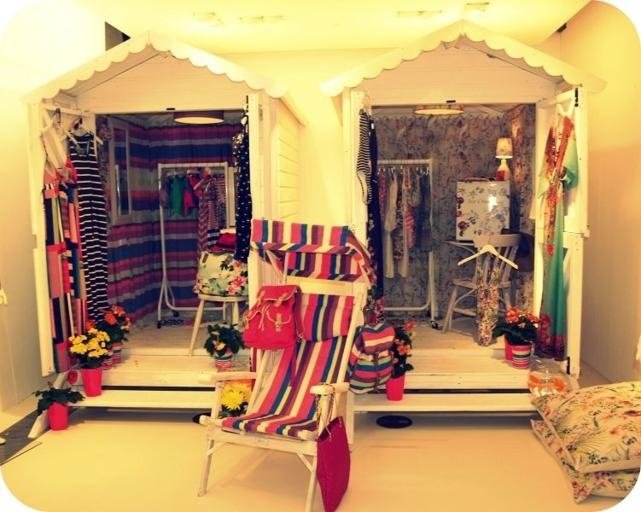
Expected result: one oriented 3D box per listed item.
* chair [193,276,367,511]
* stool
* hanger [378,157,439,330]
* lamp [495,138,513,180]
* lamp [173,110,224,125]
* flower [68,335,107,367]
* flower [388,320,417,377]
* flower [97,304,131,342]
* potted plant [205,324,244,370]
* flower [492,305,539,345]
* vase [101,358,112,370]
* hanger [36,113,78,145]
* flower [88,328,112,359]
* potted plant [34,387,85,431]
[{"bbox_3d":[-0.159,0.850,3.859,0.929,1.382,1.483,4,15,17],"label":"chair"},{"bbox_3d":[-1.030,0.635,5.533,0.710,0.651,0.657,1,3,17],"label":"stool"},{"bbox_3d":[1.057,-0.169,6.384,0.738,1.888,0.858,2,15,11],"label":"hanger"},{"bbox_3d":[2.101,-1.105,6.186,0.174,0.468,0.435,4,15,18],"label":"lamp"},{"bbox_3d":[-1.305,-1.478,5.804,0.494,0.121,0.732,-6,15,-20],"label":"lamp"},{"bbox_3d":[-1.971,0.830,4.590,0.312,0.275,0.182,11,-39,-40],"label":"flower"},{"bbox_3d":[0.673,0.756,4.408,0.172,0.385,0.415,-4,-22,20],"label":"flower"},{"bbox_3d":[-1.904,0.656,5.032,0.334,0.319,0.336,-26,-29,37],"label":"flower"},{"bbox_3d":[-0.861,0.808,4.852,0.394,0.401,0.398,0,-1,-13],"label":"potted plant"},{"bbox_3d":[1.701,0.615,4.700,0.362,0.277,0.266,4,15,20],"label":"flower"},{"bbox_3d":[-1.877,0.955,4.815,0.076,0.080,0.094,1,-15,-6],"label":"vase"},{"bbox_3d":[-2.224,-1.100,4.592,0.236,0.061,0.224,-26,-22,-43],"label":"hanger"},{"bbox_3d":[-1.869,0.722,4.593,0.261,0.232,0.078,-3,-33,-46],"label":"flower"},{"bbox_3d":[-2.065,1.214,4.391,0.369,0.289,0.359,2,0,13],"label":"potted plant"}]
